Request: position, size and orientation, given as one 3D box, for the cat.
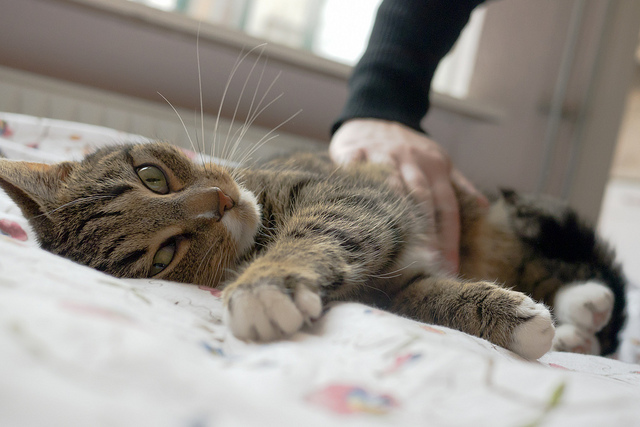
[{"bbox_3d":[0.021,0.067,1.835,1.943,0.563,0.836,13,3,15],"label":"cat"}]
